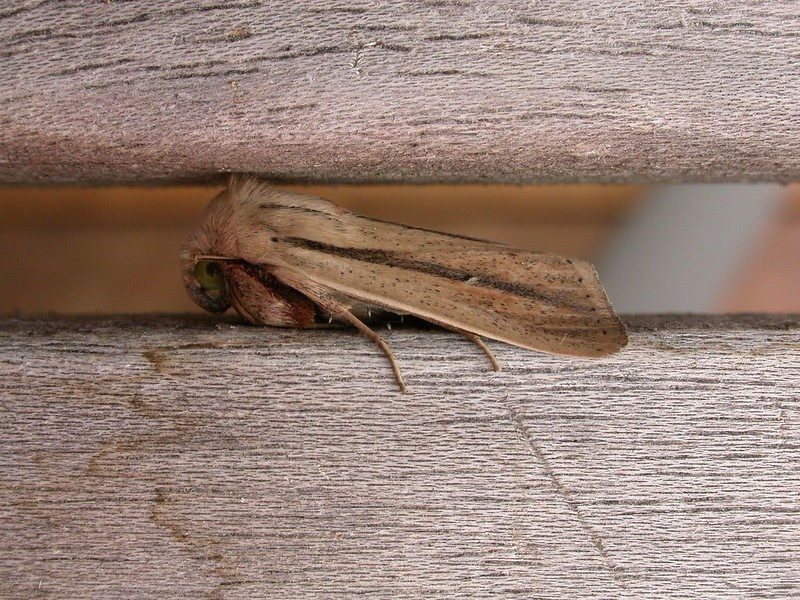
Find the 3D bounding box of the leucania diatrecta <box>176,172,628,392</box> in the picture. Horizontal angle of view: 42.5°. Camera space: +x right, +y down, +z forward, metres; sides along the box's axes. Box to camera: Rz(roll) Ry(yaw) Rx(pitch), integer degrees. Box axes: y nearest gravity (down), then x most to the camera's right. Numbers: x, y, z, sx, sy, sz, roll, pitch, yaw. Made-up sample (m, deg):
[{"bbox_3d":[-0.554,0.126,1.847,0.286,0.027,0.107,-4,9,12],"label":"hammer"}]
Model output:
[{"bbox_3d":[-0.024,-0.048,2.892,1.204,0.609,0.271,-4,-8,2],"label":"leucania diatrecta"}]
